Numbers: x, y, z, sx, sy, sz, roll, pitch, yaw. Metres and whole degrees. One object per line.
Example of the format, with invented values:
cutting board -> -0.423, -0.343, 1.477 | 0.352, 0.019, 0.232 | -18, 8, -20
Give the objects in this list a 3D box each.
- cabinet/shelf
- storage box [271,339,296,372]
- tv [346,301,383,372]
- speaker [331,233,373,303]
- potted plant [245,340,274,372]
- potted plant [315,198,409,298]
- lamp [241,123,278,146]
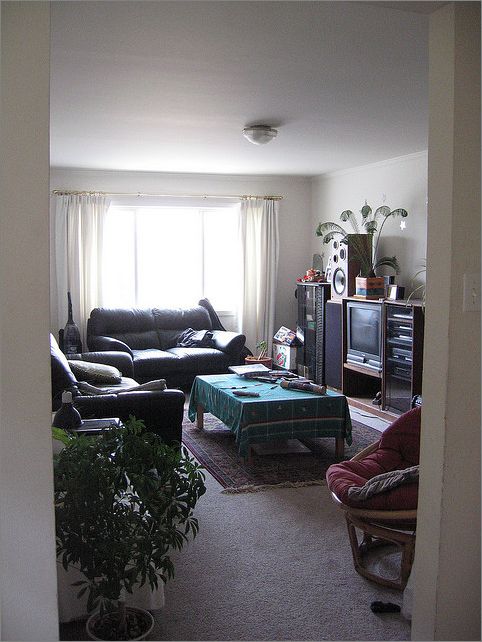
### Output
cabinet/shelf -> 1.525, 0.375, 5.256 | 0.443, 1.187, 1.214 | 1, 1, -21
storage box -> 0.610, 0.497, 7.035 | 0.118, 0.375, 0.628 | -1, 3, -21
tv -> 1.446, 0.143, 5.496 | 0.478, 0.796, 0.367 | 8, 15, 43
speaker -> 1.257, -0.623, 5.817 | 0.527, 0.761, 0.363 | 1, 3, 30
potted plant -> 0.243, 0.405, 5.676 | 0.247, 0.426, 0.359 | 1, -1, -30
potted plant -> 1.519, -0.749, 6.006 | 0.950, 1.163, 0.951 | 0, 1, -26
lamp -> 0.166, -1.554, 4.129 | 0.251, 0.110, 0.299 | 1, 3, 30
